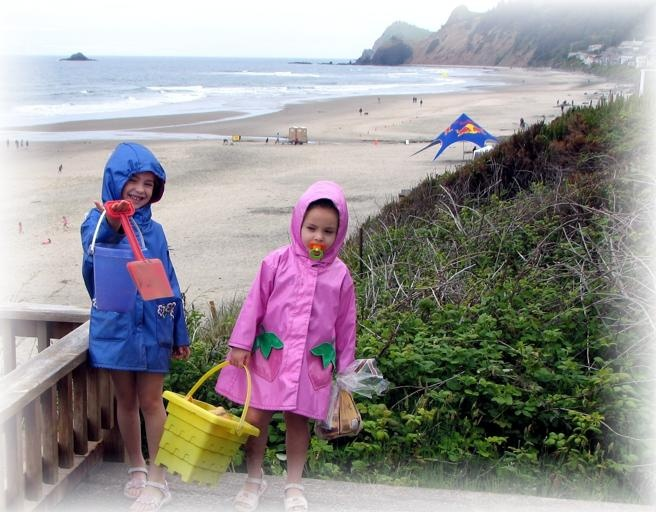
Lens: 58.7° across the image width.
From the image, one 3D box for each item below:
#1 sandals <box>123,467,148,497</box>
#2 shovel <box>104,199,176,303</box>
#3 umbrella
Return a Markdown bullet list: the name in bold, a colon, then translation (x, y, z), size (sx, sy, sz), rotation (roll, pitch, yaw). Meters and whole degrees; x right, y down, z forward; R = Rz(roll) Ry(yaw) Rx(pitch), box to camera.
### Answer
- **sandals**: translation (-1.059, 1.242, 3.196), size (0.077, 0.084, 0.204), rotation (2, -2, -8)
- **shovel**: translation (-0.961, 0.005, 2.978), size (0.224, 0.681, 0.081), rotation (-10, -20, -41)
- **umbrella**: translation (4.157, -3.869, 18.775), size (2.293, 1.082, 1.878), rotation (-4, 5, -11)
